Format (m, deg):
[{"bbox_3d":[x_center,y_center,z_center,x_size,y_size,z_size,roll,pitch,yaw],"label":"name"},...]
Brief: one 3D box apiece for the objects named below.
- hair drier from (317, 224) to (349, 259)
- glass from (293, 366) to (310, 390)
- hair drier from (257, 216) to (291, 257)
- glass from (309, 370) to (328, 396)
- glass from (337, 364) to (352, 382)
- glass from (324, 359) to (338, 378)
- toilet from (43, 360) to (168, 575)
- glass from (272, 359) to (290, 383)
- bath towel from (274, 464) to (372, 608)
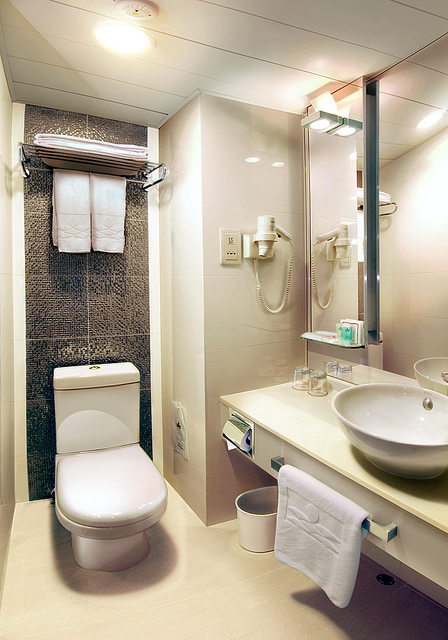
[{"bbox_3d":[0.449,-0.320,1.964,0.141,0.145,0.064,10,8,34],"label":"hair drier"},{"bbox_3d":[0.343,0.253,2.099,0.071,0.086,0.089,5,5,45],"label":"glass"},{"bbox_3d":[0.212,-0.366,2.102,0.180,0.172,0.099,-5,9,-39],"label":"hair drier"},{"bbox_3d":[0.399,0.265,2.056,0.084,0.082,0.085,-4,13,-20],"label":"glass"},{"bbox_3d":[0.495,0.214,1.956,0.058,0.098,0.057,1,-1,-25],"label":"glass"},{"bbox_3d":[0.447,0.206,2.031,0.058,0.097,0.060,0,1,-21],"label":"glass"},{"bbox_3d":[-0.489,0.608,1.965,0.372,0.704,0.746,-4,13,-21],"label":"toilet"},{"bbox_3d":[0.257,0.238,2.247,0.094,0.101,0.094,-2,12,-19],"label":"glass"},{"bbox_3d":[0.273,0.626,1.390,0.065,0.309,0.368,-3,8,-29],"label":"bath towel"}]
